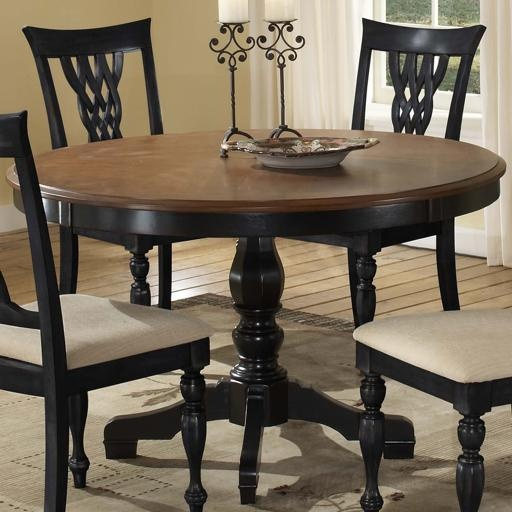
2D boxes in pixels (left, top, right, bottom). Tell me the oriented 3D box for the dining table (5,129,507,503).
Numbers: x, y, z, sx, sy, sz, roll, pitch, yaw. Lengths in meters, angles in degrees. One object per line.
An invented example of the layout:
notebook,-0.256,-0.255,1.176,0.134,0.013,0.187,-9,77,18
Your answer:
dining table,-0.057,-0.037,1.477,1.098,0.492,0.939,-3,14,-12
